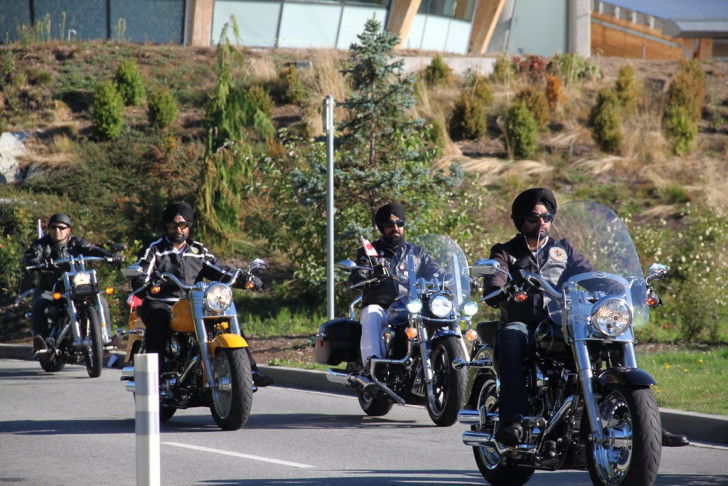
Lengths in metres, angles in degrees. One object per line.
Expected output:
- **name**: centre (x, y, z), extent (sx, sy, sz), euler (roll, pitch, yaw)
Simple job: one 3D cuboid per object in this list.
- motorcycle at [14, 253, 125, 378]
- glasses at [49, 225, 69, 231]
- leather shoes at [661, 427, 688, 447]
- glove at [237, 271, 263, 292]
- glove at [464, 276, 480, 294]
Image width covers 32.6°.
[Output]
- **motorcycle**: centre (-6.680, 1.699, 28.753), extent (1.845, 2.354, 0.800), euler (1, -1, 23)
- **glasses**: centre (-7.121, -0.353, 29.177), extent (0.413, 0.095, 0.174), euler (2, -1, -21)
- **leather shoes**: centre (5.400, 3.393, 21.410), extent (0.627, 0.274, 0.214), euler (1, -4, -27)
- **glove**: centre (-2.274, 0.785, 24.977), extent (0.456, 0.219, 0.327), euler (6, -2, -24)
- **glove**: centre (2.120, 0.851, 24.916), extent (0.292, 0.461, 0.302), euler (4, -1, 20)
